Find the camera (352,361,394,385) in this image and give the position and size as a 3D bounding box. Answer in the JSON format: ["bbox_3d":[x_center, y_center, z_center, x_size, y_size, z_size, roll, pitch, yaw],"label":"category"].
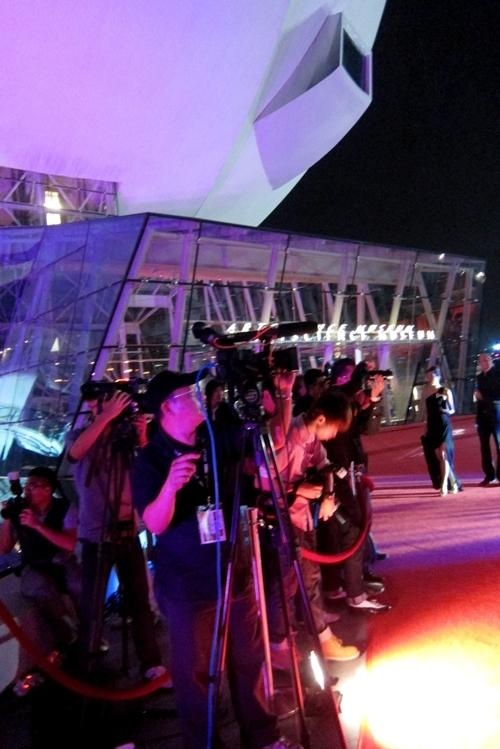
[{"bbox_3d":[1.263,-0.023,5.001,0.432,0.167,0.256,-2,-5,11],"label":"camera"}]

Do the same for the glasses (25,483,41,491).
[{"bbox_3d":[-1.792,0.927,3.951,0.098,0.042,0.096,-5,7,-11],"label":"glasses"}]

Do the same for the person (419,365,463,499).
[{"bbox_3d":[3.290,0.976,8.459,0.575,1.922,0.708,-6,-3,21],"label":"person"}]

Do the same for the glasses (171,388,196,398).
[{"bbox_3d":[-0.293,0.078,2.097,0.103,0.053,0.024,-4,-3,-6],"label":"glasses"}]

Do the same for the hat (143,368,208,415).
[{"bbox_3d":[-0.345,0.076,2.199,0.339,0.204,0.240,-5,-3,7],"label":"hat"}]
